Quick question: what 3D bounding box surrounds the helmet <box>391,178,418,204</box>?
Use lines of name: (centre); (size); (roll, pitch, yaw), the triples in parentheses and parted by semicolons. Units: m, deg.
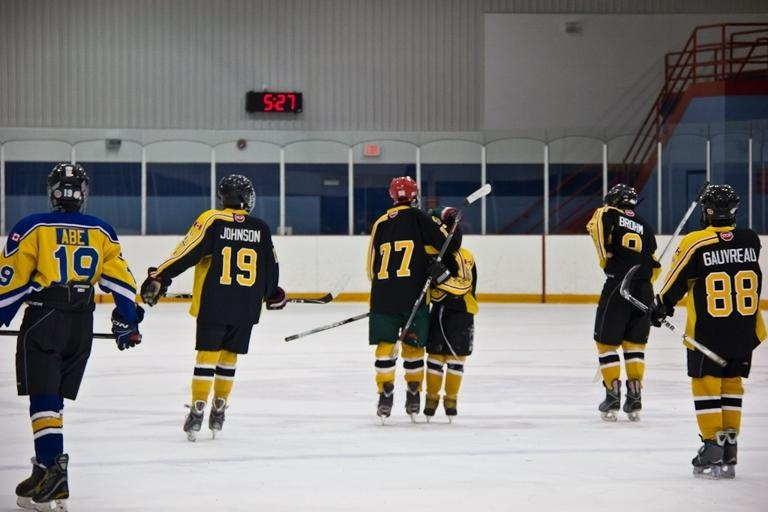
helmet: (0.198, -0.668, 12.297); (0.240, 0.267, 0.283); (-1, 0, 18)

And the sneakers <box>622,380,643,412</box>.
sneakers: (2.503, 1.401, 12.137); (0.171, 0.318, 0.220); (3, 14, 12)

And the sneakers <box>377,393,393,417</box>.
sneakers: (0.006, 1.468, 11.973); (0.158, 0.311, 0.236); (0, 14, -1)

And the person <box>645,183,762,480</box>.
person: (3.083, 0.651, 11.018); (0.899, 2.498, 0.846); (-8, 16, -28)

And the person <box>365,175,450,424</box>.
person: (0.232, 0.562, 12.007); (0.768, 2.006, 0.729); (0, 14, 0)

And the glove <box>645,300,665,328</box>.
glove: (2.506, 0.519, 11.079); (0.089, 0.225, 0.160); (11, -19, -36)

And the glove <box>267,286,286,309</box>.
glove: (-1.071, 0.409, 12.015); (0.225, 0.193, 0.171); (-13, 26, -7)

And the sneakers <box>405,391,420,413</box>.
sneakers: (0.290, 1.431, 12.035); (0.143, 0.258, 0.161); (0, 14, 1)

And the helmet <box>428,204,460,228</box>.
helmet: (0.655, -0.397, 12.250); (0.202, 0.239, 0.250); (-7, 27, -37)

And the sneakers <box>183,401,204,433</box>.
sneakers: (-1.809, 1.508, 11.535); (0.223, 0.293, 0.183); (-4, 14, -16)

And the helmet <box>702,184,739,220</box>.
helmet: (3.113, -0.506, 11.161); (0.288, 0.296, 0.338); (3, 11, 11)

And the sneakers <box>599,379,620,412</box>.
sneakers: (2.281, 1.383, 12.143); (0.207, 0.303, 0.230); (2, 14, 10)

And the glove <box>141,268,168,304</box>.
glove: (-2.231, 0.272, 11.625); (0.223, 0.357, 0.095); (29, -18, -21)

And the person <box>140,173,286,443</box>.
person: (-1.599, 0.452, 11.751); (1.259, 2.371, 0.754); (-11, 17, -38)

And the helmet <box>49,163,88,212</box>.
helmet: (-2.854, -0.568, 10.886); (0.378, 0.558, 0.566); (2, 1, -14)

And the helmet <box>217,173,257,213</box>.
helmet: (-1.459, -0.599, 11.929); (0.341, 0.392, 0.428); (-8, -1, 35)

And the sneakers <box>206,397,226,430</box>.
sneakers: (-1.606, 1.501, 11.581); (0.117, 0.153, 0.342); (8, 34, -8)
